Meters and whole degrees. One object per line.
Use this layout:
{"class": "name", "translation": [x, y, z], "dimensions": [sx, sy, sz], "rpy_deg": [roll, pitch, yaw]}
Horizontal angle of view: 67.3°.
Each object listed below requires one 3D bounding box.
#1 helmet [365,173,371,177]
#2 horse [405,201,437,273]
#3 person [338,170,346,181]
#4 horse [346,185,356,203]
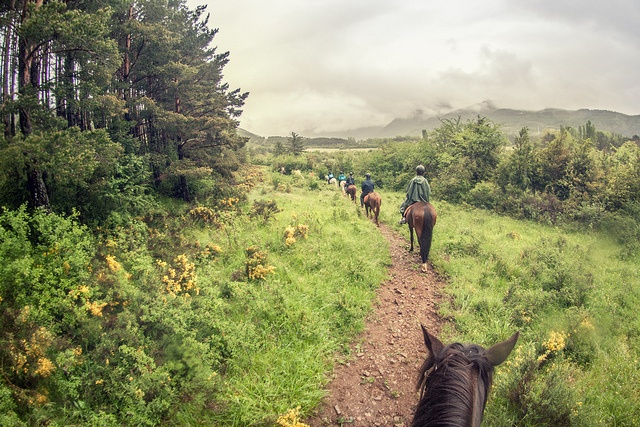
{"class": "helmet", "translation": [2.563, -2.096, 25.777], "dimensions": [0.170, 0.282, 0.272], "rpy_deg": [5, -20, -44]}
{"class": "horse", "translation": [4.120, 0.865, 19.538], "dimensions": [0.721, 2.592, 1.709], "rpy_deg": [2, 6, -13]}
{"class": "person", "translation": [1.516, -2.652, 35.221], "dimensions": [0.417, 0.536, 1.518], "rpy_deg": [-6, 32, 11]}
{"class": "horse", "translation": [1.973, -1.279, 30.352], "dimensions": [0.415, 0.994, 1.099], "rpy_deg": [1, 7, -17]}
